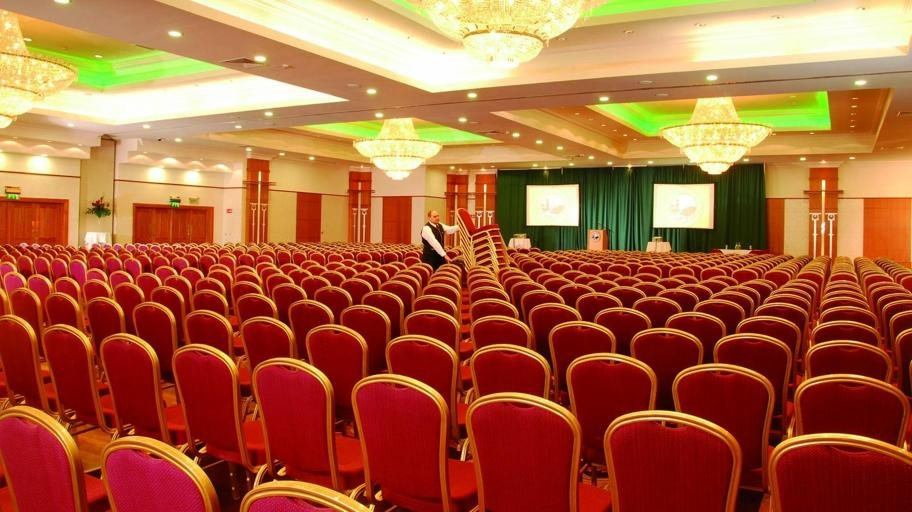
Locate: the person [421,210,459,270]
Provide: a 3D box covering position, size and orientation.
[{"bbox_3d":[-0.261,-0.090,13.522,1.086,1.770,0.842,-2,17,-6],"label":"person"}]

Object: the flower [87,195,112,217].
[{"bbox_3d":[-12.328,-1.730,20.593,0.720,0.670,0.680,1,-3,-41],"label":"flower"}]
